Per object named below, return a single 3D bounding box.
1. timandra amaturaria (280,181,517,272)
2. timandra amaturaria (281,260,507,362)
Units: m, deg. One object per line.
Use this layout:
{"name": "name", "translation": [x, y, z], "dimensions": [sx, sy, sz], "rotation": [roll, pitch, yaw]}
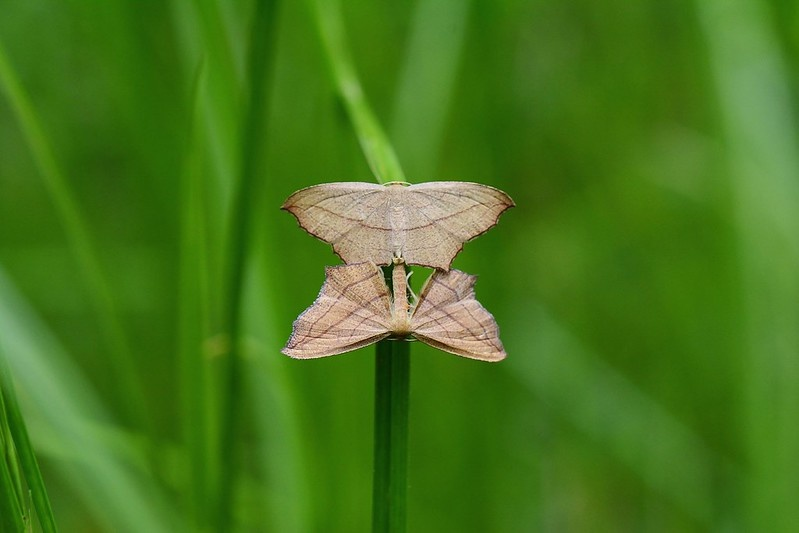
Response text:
{"name": "timandra amaturaria", "translation": [-0.007, -0.127, 2.467], "dimensions": [0.676, 0.162, 0.217], "rotation": [2, -56, -2]}
{"name": "timandra amaturaria", "translation": [-0.014, 0.130, 2.412], "dimensions": [0.636, 0.210, 0.209], "rotation": [1, -55, -2]}
